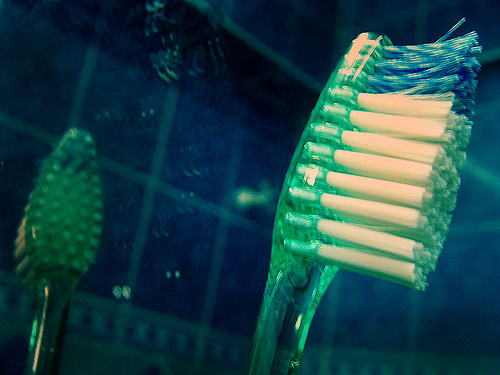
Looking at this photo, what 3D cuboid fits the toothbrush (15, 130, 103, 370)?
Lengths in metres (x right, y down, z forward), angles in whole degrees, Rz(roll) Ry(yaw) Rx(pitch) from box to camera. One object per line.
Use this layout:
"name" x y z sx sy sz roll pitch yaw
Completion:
"toothbrush" -0.213 0.059 0.669 0.084 0.271 0.065 18 -20 -21
